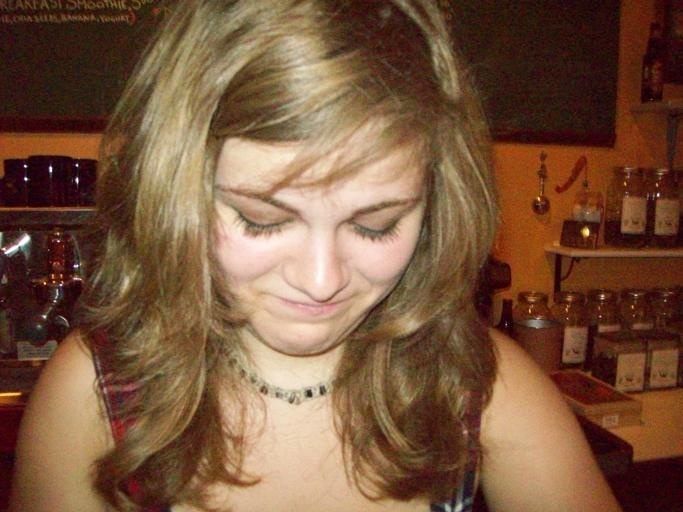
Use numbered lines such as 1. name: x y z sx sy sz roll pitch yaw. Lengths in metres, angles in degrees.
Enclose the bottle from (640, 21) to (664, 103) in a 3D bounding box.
1. bottle: 1.272 -0.798 2.665 0.097 0.317 0.105 -3 10 0
